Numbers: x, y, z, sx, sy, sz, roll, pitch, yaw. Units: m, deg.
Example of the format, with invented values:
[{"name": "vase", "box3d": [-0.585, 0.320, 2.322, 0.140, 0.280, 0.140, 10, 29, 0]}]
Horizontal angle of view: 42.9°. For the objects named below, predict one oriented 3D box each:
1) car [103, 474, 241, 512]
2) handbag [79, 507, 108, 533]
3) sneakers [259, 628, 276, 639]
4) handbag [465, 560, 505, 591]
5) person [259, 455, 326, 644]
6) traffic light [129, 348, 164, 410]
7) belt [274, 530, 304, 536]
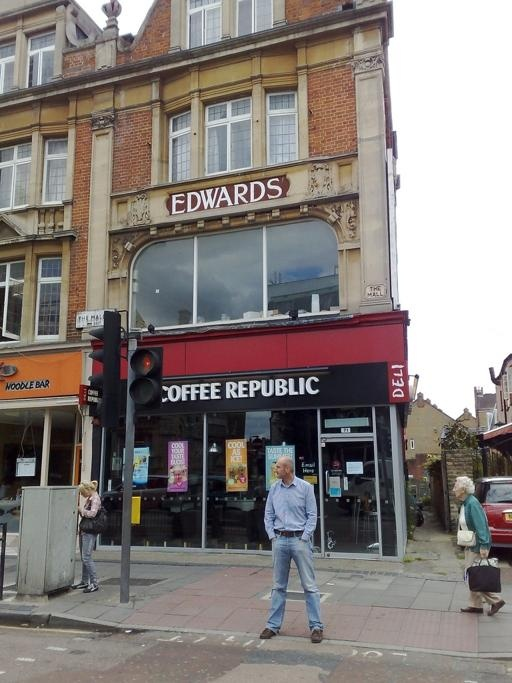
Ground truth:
[{"name": "car", "box3d": [-1.478, 3.066, 12.964, 2.563, 0.901, 1.114, 0, -14, 18]}, {"name": "handbag", "box3d": [-2.237, 2.457, 8.987, 0.366, 0.362, 0.289, 2, -6, -40]}, {"name": "sneakers", "box3d": [0.097, 2.764, 6.145, 0.063, 0.084, 0.186, -6, -24, 20]}, {"name": "handbag", "box3d": [2.384, 2.525, 6.916, 0.339, 0.359, 0.331, -6, -10, 20]}, {"name": "person", "box3d": [0.295, 1.985, 6.342, 0.580, 1.678, 0.556, -3, -9, 4]}, {"name": "traffic light", "box3d": [-1.340, 0.449, 7.833, 0.406, 0.728, 0.227, -3, -9, 4]}, {"name": "belt", "box3d": [0.290, 1.850, 6.262, 0.289, 0.071, 0.063, -9, -11, 33]}]
